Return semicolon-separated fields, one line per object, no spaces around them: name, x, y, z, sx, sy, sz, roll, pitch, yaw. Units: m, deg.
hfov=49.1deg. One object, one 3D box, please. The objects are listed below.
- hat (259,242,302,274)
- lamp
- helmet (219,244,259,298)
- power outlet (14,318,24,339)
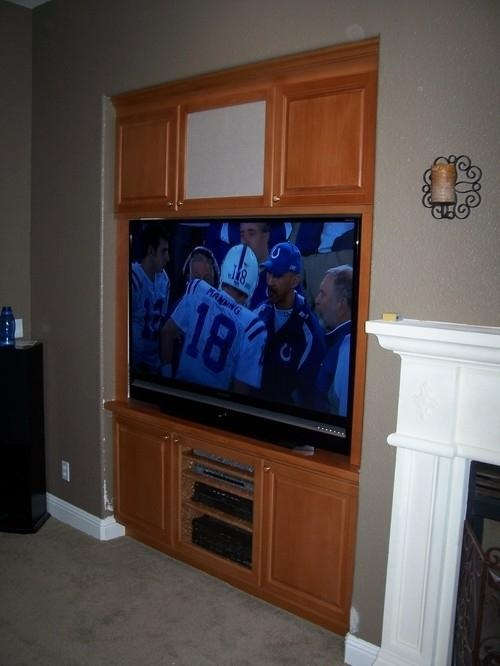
hat;0.128;-0.286;2.094;0.113;0.088;0.092;-7;27;-32
lamp;0.577;-0.421;1.552;0.053;0.222;0.162;-6;9;-44
helmet;-0.046;-0.280;2.299;0.126;0.204;0.203;14;24;-6
power outlet;-1.327;-0.034;3.137;0.011;0.152;0.093;1;3;25
